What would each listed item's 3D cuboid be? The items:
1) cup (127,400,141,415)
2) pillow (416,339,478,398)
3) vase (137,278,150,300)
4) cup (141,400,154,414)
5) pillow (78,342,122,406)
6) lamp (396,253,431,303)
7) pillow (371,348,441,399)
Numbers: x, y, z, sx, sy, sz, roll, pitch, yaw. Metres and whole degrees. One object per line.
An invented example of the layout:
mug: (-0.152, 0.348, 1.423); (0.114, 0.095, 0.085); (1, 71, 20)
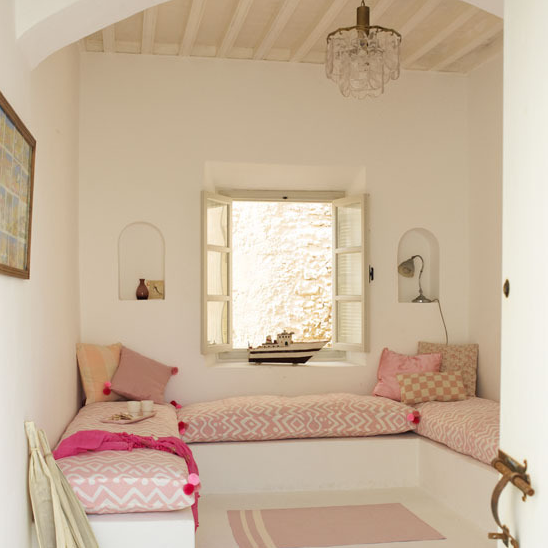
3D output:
cup: (-0.954, 0.919, 3.226); (0.072, 0.058, 0.072); (0, -2, 0)
pillow: (1.634, 0.849, 4.175); (0.437, 0.474, 0.139); (2, -16, 2)
vase: (-1.137, 0.143, 4.187); (0.141, 0.240, 0.154); (0, 1, -25)
cup: (-0.883, 0.932, 3.282); (0.073, 0.072, 0.076); (1, -1, 0)
pillow: (-1.371, 0.767, 3.671); (0.124, 0.422, 0.429); (-18, 5, 19)
lamp: (1.377, 0.048, 4.573); (0.333, 0.490, 0.186); (0, -5, 2)
pillow: (1.121, 0.886, 4.274); (0.467, 0.168, 0.543); (9, 35, -4)
